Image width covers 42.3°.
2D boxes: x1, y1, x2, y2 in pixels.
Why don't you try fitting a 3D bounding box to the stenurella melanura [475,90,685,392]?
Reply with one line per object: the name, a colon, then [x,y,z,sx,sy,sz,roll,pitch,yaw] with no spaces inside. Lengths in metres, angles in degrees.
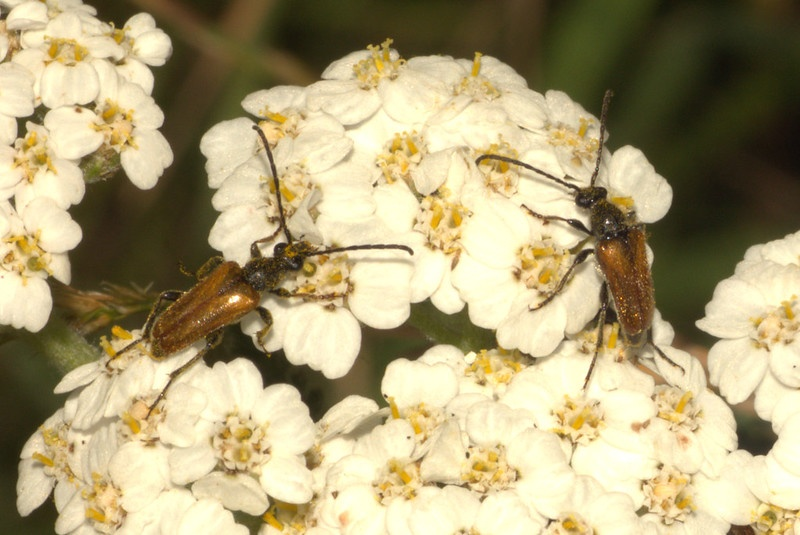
stenurella melanura: [2.463,-0.273,12.429,2.336,0.736,2.629,1,60,-41]
